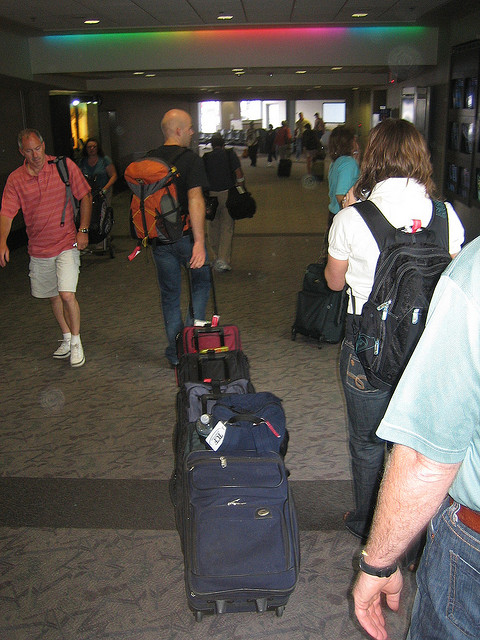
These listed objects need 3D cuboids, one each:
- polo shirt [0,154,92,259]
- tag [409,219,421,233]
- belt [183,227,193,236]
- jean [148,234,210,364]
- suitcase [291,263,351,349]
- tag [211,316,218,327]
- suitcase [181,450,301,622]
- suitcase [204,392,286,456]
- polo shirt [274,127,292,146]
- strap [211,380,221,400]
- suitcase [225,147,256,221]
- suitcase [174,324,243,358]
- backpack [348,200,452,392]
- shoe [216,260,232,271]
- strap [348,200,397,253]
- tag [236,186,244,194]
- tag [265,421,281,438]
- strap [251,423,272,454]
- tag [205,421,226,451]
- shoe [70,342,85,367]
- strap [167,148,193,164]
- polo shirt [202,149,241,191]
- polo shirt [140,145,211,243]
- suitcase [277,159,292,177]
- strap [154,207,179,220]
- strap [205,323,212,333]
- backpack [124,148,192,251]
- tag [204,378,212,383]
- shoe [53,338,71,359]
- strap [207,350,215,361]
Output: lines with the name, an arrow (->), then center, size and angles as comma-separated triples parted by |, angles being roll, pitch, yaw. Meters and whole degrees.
polo shirt -> -1.618, -0.888, 3.970 | 0.534, 0.774, 0.237 | -9, 22, -16
tag -> 0.603, -0.332, 1.722 | 0.022, 0.070, 0.028 | -3, 0, 2
belt -> -0.398, -0.675, 3.763 | 0.042, 0.056, 0.055 | 2, 0, -12
jean -> -0.437, -0.259, 3.943 | 0.464, 0.338, 1.314 | -7, 61, -8
suitcase -> 0.768, -0.128, 4.401 | 0.406, 0.724, 0.494 | 6, 8, -27
tag -> -0.179, 0.010, 3.406 | 0.052, 0.086, 0.054 | 3, 15, 5
suitcase -> 0.001, 0.800, 1.863 | 0.420, 0.488, 0.451 | -4, 21, -5
suitcase -> 0.023, 0.398, 2.133 | 0.213, 0.289, 0.312 | 3, -4, 15
polo shirt -> 1.693, -7.545, 20.356 | 0.683, 0.698, 0.548 | 8, 24, 26
strap -> -0.126, 0.356, 2.535 | 0.031, 0.044, 0.099 | 0, 30, -4
suitcase -> -0.008, -1.664, 6.170 | 0.372, 0.881, 0.415 | -2, 21, 3
suitcase -> -0.216, 0.122, 3.368 | 0.423, 0.218, 0.386 | 0, 2, 2
backpack -> 0.572, -0.101, 1.739 | 0.432, 0.627, 0.371 | -7, 14, -20
shoe -> -0.223, -0.755, 6.861 | 0.185, 0.108, 0.085 | -1, -16, -17
strap -> 0.481, -0.349, 1.724 | 0.122, 0.121, 0.110 | 18, 39, 3
tag -> -0.011, -1.615, 6.139 | 0.058, 0.080, 0.021 | -21, -7, -31
tag -> 0.133, 0.453, 2.068 | 0.026, 0.098, 0.018 | -30, -13, -36
strap -> 0.093, 0.475, 1.997 | 0.069, 0.089, 0.027 | -9, -17, -13
tag -> -0.099, 0.472, 2.031 | 0.067, 0.071, 0.110 | 8, 23, 26
shoe -> -1.348, 0.292, 4.124 | 0.083, 0.097, 0.234 | -4, 17, -8
strap -> -0.441, -1.202, 3.595 | 0.093, 0.119, 0.129 | 10, 37, 15
polo shirt -> -0.253, -1.936, 6.353 | 0.527, 0.496, 0.289 | -3, 17, 14
polo shirt -> -0.417, -0.982, 3.700 | 0.349, 0.619, 0.587 | 8, 18, 22
suitcase -> 1.672, -5.798, 18.904 | 0.451, 0.645, 0.442 | -2, 21, 1
strap -> -0.526, -0.760, 3.595 | 0.093, 0.022, 0.092 | -11, 21, 37
strap -> -0.221, 0.053, 3.438 | 0.043, 0.022, 0.057 | -4, 30, 4
backpack -> -0.600, -0.915, 3.754 | 0.472, 0.671, 0.476 | -18, 25, -39
tag -> -0.200, 0.364, 3.024 | 0.036, 0.008, 0.023 | -1, 53, 4
shoe -> -1.567, 0.241, 4.360 | 0.162, 0.165, 0.106 | -10, 23, -19
strap -> -0.191, 0.216, 3.106 | 0.035, 0.054, 0.059 | 4, -23, -3
